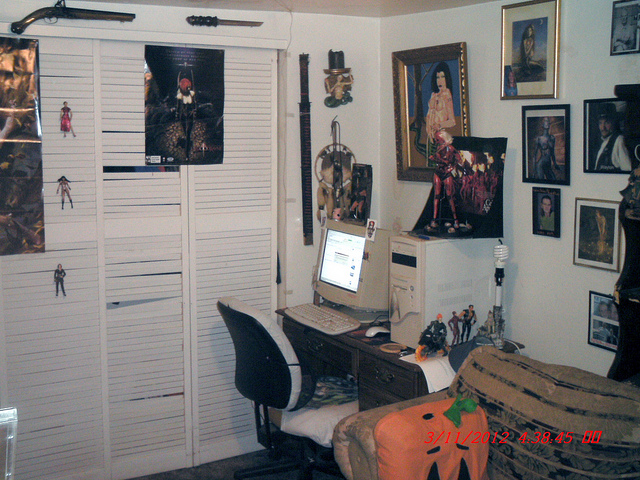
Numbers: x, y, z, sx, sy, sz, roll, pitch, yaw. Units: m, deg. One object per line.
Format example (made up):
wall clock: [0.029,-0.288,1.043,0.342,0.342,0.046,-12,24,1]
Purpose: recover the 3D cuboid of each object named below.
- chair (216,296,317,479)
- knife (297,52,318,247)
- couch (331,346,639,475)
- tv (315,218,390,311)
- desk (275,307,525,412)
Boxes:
chair: [-0.334,0.967,3.548,0.597,1.255,0.627,-2,9,-10]
knife: [-0.078,-0.659,4.111,0.151,1.436,0.132,-5,9,-28]
couch: [0.801,0.904,2.664,1.325,0.558,0.562,1,9,6]
tv: [0.227,0.173,3.731,0.271,0.520,0.507,11,3,-32]
desk: [0.368,0.879,3.684,0.715,0.581,1.043,-3,5,-33]
